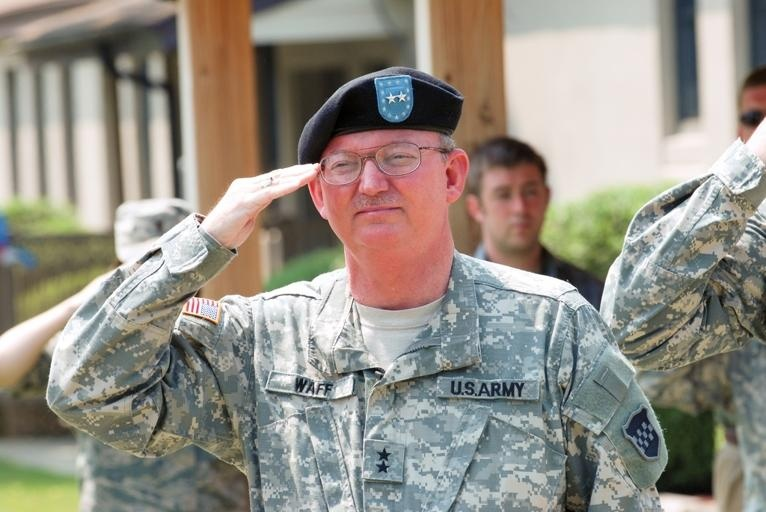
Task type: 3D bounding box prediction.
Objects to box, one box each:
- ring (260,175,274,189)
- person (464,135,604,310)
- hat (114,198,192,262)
[{"bbox_3d":[-0.731,-0.487,11.467,0.074,0.063,0.022,-4,-1,-6],"label":"ring"},{"bbox_3d":[1.181,-0.250,14.098,1.528,1.432,0.811,-2,-6,0],"label":"person"},{"bbox_3d":[-1.709,-0.204,13.434,0.569,0.472,0.444,-2,0,-10],"label":"hat"}]
